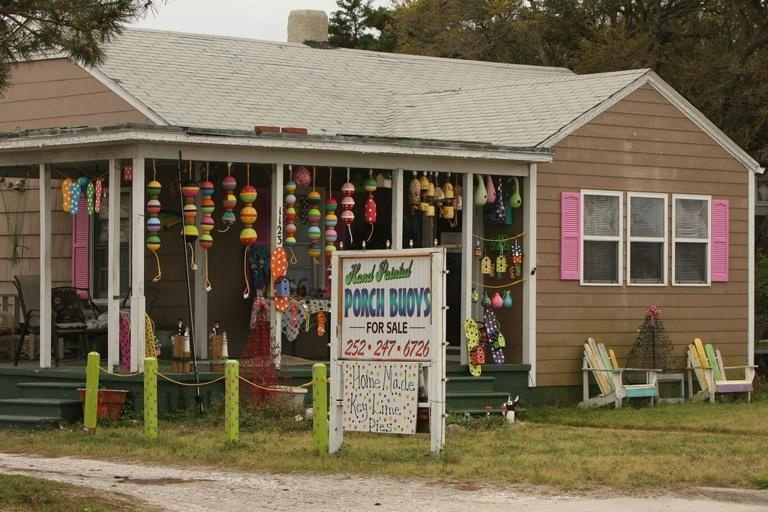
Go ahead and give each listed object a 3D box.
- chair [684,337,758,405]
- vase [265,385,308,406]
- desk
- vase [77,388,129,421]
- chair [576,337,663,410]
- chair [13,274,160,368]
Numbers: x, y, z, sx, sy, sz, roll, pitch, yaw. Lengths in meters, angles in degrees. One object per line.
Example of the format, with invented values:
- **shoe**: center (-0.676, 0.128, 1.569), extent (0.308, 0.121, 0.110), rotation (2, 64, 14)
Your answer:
- **chair**: center (6.316, 2.191, 27.376), extent (0.969, 1.164, 1.218), rotation (-4, -2, -12)
- **vase**: center (-1.598, 2.434, 24.959), extent (0.922, 0.390, 0.437), rotation (7, -9, -44)
- **desk**: center (-1.664, 1.310, 26.655), extent (1.405, 1.002, 1.377), rotation (1, -4, -8)
- **vase**: center (-4.573, 2.559, 24.513), extent (0.603, 0.419, 0.489), rotation (-3, -14, 33)
- **chair**: center (4.324, 2.255, 26.683), extent (1.022, 1.156, 1.223), rotation (0, -4, -30)
- **chair**: center (-5.377, 1.163, 26.268), extent (2.622, 1.606, 1.588), rotation (-1, -3, 23)
